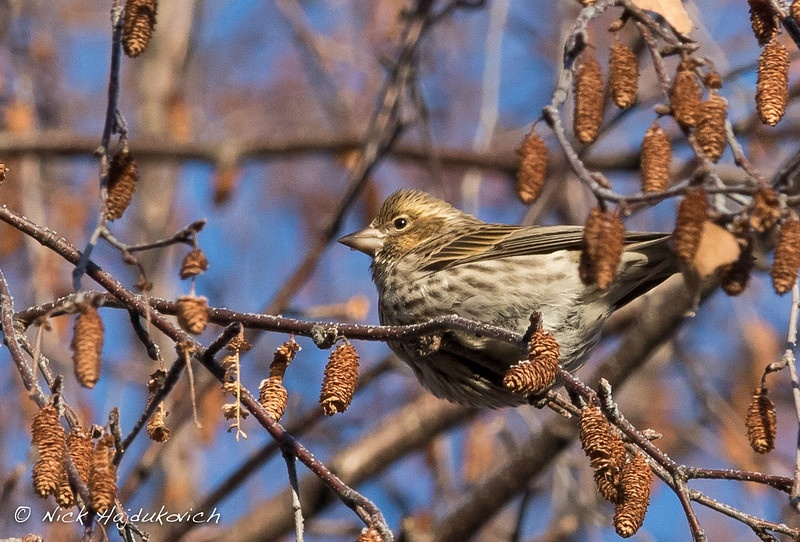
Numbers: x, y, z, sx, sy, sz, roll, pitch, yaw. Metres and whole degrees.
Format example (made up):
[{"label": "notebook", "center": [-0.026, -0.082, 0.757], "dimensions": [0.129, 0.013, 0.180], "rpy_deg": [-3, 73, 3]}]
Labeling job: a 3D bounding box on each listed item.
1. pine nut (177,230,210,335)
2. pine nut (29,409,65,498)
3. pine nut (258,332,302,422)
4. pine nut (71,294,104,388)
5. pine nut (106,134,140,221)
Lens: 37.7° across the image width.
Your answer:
[{"label": "pine nut", "center": [-1.036, 0.058, 5.917], "dimensions": [0.176, 0.205, 0.489], "rpy_deg": [-2, 103, -2]}, {"label": "pine nut", "center": [-1.754, 0.894, 5.852], "dimensions": [0.185, 0.191, 0.445], "rpy_deg": [-15, 82, -1]}, {"label": "pine nut", "center": [-0.642, 0.575, 6.202], "dimensions": [0.174, 0.163, 0.478], "rpy_deg": [2, 105, 9]}, {"label": "pine nut", "center": [-1.571, 0.363, 5.894], "dimensions": [0.155, 0.152, 0.527], "rpy_deg": [-36, 50, 36]}, {"label": "pine nut", "center": [-1.499, -0.501, 6.294], "dimensions": [0.153, 0.155, 0.434], "rpy_deg": [-10, 108, -22]}]
